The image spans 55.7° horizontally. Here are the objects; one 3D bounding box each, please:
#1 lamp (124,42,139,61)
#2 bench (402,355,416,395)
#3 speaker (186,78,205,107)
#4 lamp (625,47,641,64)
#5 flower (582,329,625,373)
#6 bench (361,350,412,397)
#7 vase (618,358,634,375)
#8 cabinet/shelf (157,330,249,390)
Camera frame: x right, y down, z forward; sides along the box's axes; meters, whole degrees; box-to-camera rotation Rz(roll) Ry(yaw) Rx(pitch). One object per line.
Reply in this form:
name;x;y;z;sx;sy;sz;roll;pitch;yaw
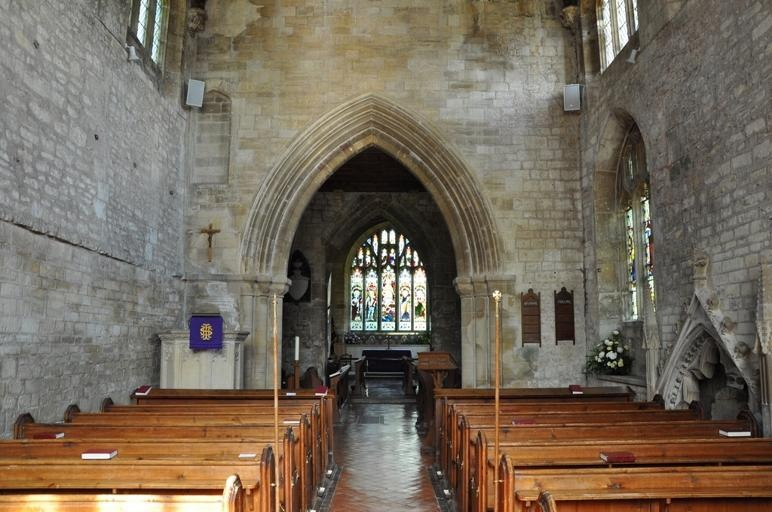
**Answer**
lamp;-4.079;-3.260;11.720;0.229;0.256;0.232;-14;-4;-13
bench;0.569;2.919;17.789;0.231;0.635;1.235;1;-10;-1
speaker;-3.606;-3.070;13.801;0.362;0.541;0.395;2;-10;-13
lamp;4.065;-3.291;11.987;0.223;0.238;0.211;16;12;-31
flower;3.919;1.718;13.014;0.511;0.797;0.846;6;-12;-32
bench;0.016;3.302;20.358;1.090;0.798;0.707;1;-5;3
vase;4.156;1.915;12.739;0.329;0.298;0.222;7;-13;-35
cabinet/shelf;-3.097;1.868;12.500;0.984;1.380;1.395;-1;-4;14
